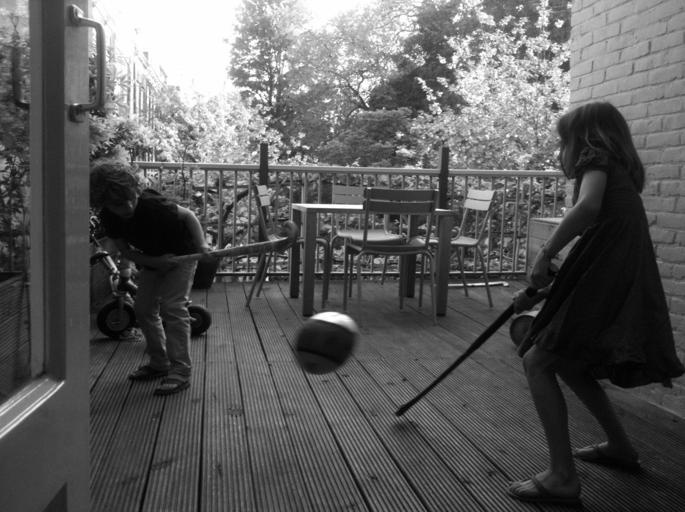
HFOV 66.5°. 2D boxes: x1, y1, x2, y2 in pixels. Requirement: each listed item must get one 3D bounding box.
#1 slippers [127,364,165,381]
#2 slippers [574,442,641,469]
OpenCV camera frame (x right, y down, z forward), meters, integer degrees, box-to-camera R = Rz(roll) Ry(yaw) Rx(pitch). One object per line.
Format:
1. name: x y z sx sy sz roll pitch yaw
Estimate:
1. slippers: -1.203 0.720 3.224 0.206 0.072 0.082 7 -7 -33
2. slippers: 1.167 0.890 2.313 0.260 0.076 0.101 5 2 41
